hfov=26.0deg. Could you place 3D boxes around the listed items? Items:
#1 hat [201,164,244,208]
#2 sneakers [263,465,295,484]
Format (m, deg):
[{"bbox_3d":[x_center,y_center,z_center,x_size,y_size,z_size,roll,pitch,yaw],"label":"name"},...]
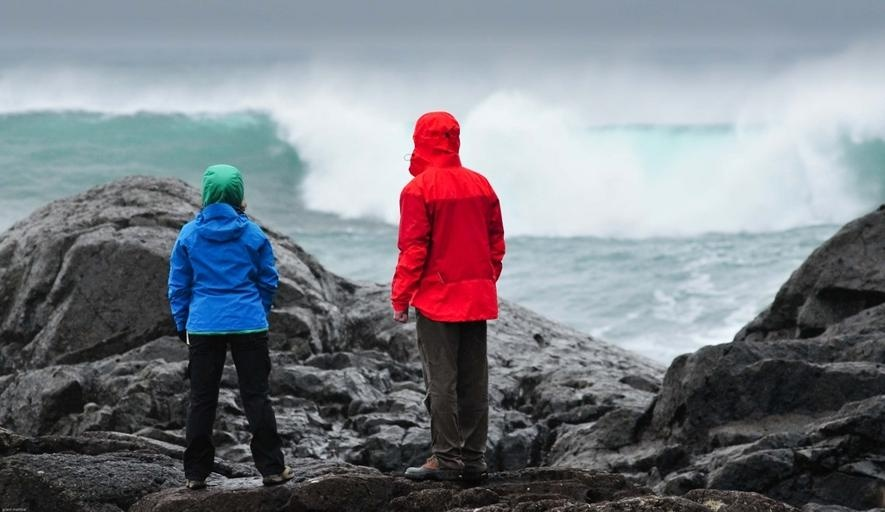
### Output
[{"bbox_3d":[-4.559,-1.551,40.369,0.927,0.945,1.188,-2,-2,-3],"label":"hat"},{"bbox_3d":[-3.366,4.536,39.803,0.304,0.281,0.644,3,14,31],"label":"sneakers"}]
